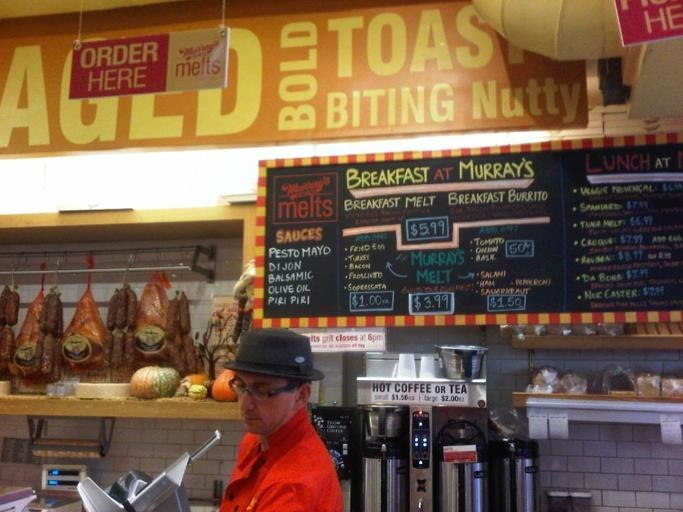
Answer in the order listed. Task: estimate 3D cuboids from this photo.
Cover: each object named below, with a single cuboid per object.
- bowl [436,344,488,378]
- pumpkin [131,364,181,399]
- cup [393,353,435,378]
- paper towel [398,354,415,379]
[{"bbox_3d":[0.873,0.781,6.336,0.361,0.233,0.449,0,1,-2],"label":"bowl"},{"bbox_3d":[-1.507,1.018,6.832,0.266,0.257,0.274,2,-10,6],"label":"pumpkin"},{"bbox_3d":[0.539,0.831,6.410,0.290,0.200,0.159,1,-17,11],"label":"cup"},{"bbox_3d":[0.478,0.816,6.371,0.145,0.164,0.144,4,-10,-19],"label":"paper towel"}]
